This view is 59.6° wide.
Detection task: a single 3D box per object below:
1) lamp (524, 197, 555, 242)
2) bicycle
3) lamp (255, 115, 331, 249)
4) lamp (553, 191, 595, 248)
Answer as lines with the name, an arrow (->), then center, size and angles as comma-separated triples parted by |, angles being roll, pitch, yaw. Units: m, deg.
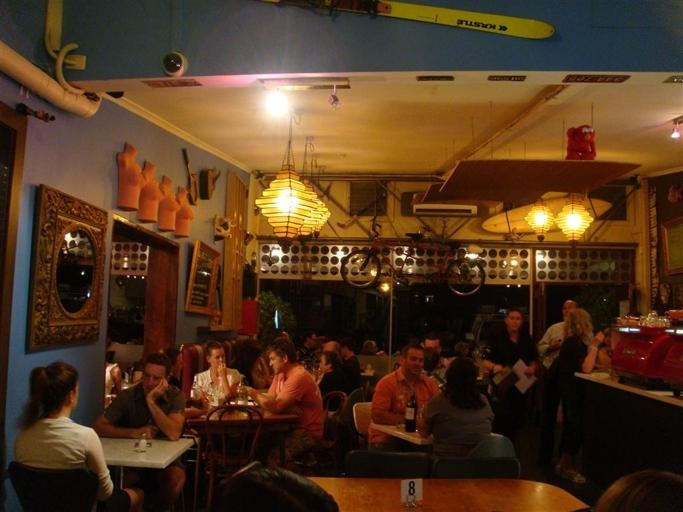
lamp -> 3.191, -0.584, 9.730 | 0.353, 0.675, 0.457 | 2, -5, -21
bicycle -> 1.322, 0.019, 11.559 | 2.747, 1.486, 1.282 | 4, -1, 4
lamp -> -0.666, -1.037, 8.683 | 0.871, 1.737, 2.505 | 0, -5, -1
lamp -> 3.955, -0.672, 10.125 | 0.526, 0.973, 2.279 | -2, -6, 23
